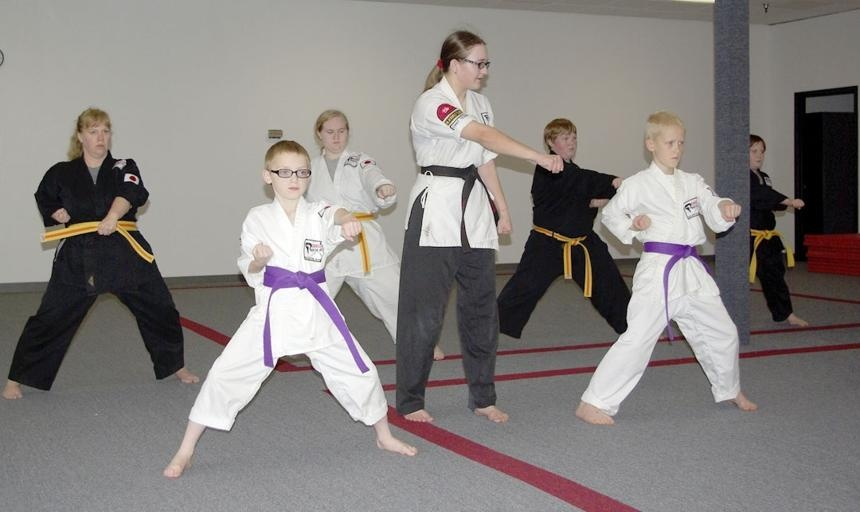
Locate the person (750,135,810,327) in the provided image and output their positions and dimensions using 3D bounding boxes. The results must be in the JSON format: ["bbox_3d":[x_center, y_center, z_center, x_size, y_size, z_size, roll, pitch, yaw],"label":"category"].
[{"bbox_3d":[3.610,-0.261,6.596,0.620,1.938,1.140,5,16,26],"label":"person"}]

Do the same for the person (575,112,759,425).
[{"bbox_3d":[1.671,0.052,4.490,1.246,2.071,0.679,-5,15,-7],"label":"person"}]

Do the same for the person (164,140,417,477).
[{"bbox_3d":[-0.863,0.293,3.964,1.378,1.974,0.521,-4,15,-5],"label":"person"}]

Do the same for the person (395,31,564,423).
[{"bbox_3d":[0.196,-0.181,4.368,0.977,2.631,0.591,-3,15,1],"label":"person"}]
